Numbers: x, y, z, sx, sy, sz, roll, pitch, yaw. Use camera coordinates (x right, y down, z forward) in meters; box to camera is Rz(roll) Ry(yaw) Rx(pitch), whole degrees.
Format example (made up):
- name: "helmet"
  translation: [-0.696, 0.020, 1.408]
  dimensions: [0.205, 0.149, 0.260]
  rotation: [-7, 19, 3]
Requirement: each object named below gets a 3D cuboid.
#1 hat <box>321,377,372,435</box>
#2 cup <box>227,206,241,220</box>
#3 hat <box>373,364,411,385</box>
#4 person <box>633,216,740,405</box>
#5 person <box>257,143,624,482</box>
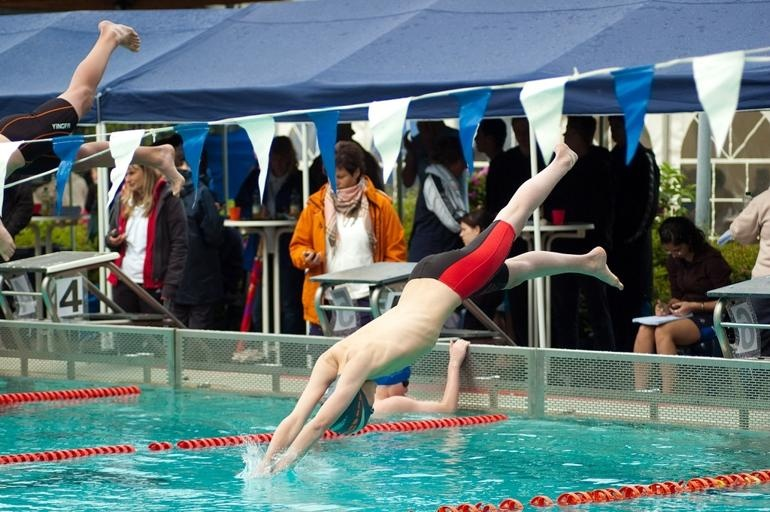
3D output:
- name: "hat"
  translation: [-0.243, 1.105, 8.039]
  dimensions: [0.372, 0.363, 0.250]
  rotation: [-6, 14, -20]
- name: "cup"
  translation: [-1.612, -0.459, 11.804]
  dimensions: [0.125, 0.152, 0.129]
  rotation: [1, 2, 0]
- name: "hat"
  translation: [0.056, 0.997, 9.262]
  dimensions: [0.285, 0.180, 0.221]
  rotation: [-5, 9, -7]
- name: "person"
  translation: [2.700, 0.512, 10.052]
  dimensions: [1.074, 1.820, 0.807]
  rotation: [19, -27, -23]
- name: "person"
  translation: [0.563, 0.511, 9.716]
  dimensions: [3.622, 1.448, 0.757]
  rotation: [-35, 24, -21]
